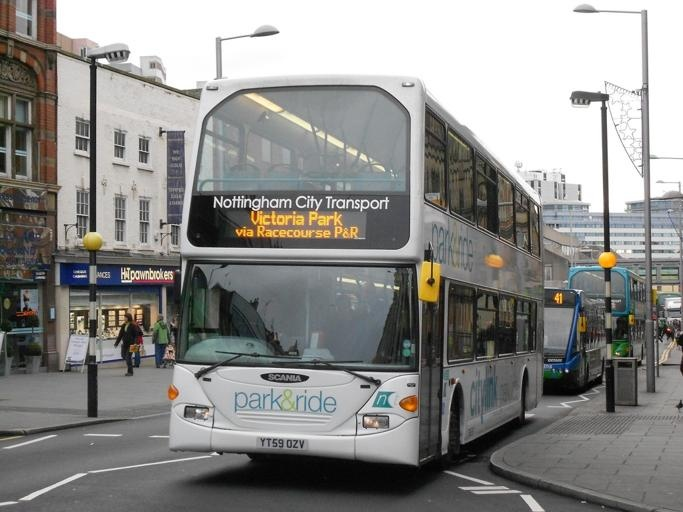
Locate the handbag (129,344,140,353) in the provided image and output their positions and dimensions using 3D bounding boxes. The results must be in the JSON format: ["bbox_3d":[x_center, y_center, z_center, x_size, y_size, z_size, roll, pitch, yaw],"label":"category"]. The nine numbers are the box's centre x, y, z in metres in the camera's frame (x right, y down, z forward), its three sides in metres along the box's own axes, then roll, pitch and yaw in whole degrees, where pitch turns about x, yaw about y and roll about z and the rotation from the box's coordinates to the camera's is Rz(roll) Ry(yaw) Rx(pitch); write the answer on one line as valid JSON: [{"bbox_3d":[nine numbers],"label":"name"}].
[{"bbox_3d":[-8.009,3.584,30.506,0.281,0.164,0.432,1,0,-8],"label":"handbag"}]

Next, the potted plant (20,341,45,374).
[{"bbox_3d":[-11.985,3.953,30.455,0.793,1.789,0.972,0,0,-11],"label":"potted plant"}]

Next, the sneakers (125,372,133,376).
[{"bbox_3d":[-8.084,4.565,30.215,0.107,0.162,0.338,-2,-11,13],"label":"sneakers"}]

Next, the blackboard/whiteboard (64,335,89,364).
[{"bbox_3d":[-10.536,3.771,31.454,0.849,1.510,0.063,5,-2,0],"label":"blackboard/whiteboard"}]
